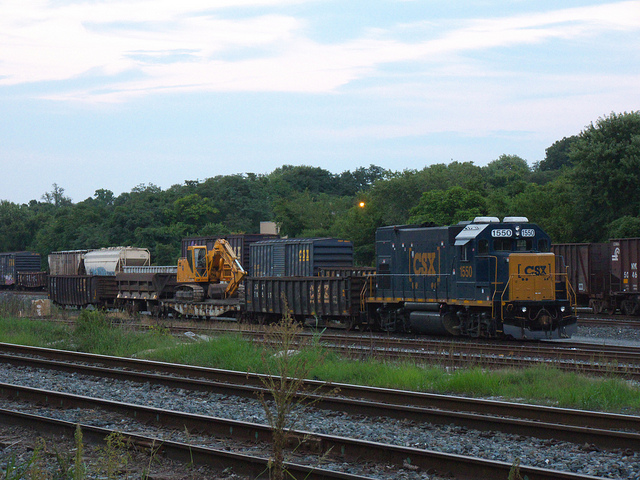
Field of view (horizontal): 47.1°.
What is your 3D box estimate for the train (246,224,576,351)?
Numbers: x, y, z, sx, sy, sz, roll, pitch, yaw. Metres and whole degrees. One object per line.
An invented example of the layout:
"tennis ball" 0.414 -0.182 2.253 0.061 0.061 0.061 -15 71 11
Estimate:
"train" 2.277 1.503 26.739 2.709 3.626 13.526 1 -2 -41
